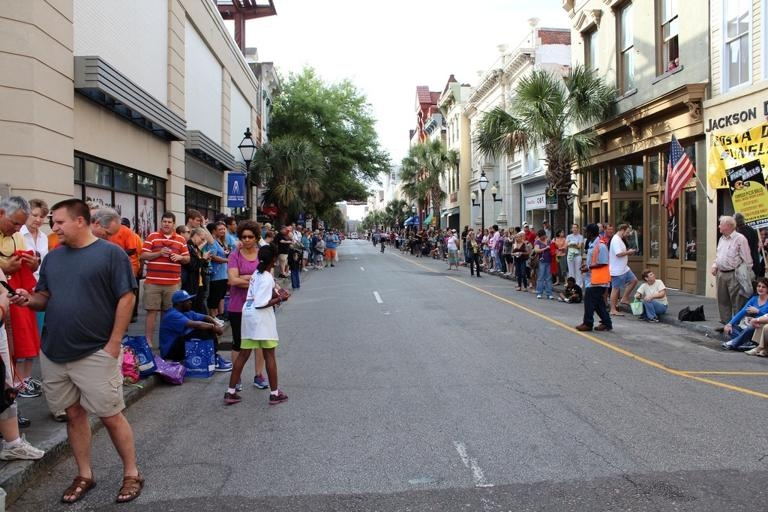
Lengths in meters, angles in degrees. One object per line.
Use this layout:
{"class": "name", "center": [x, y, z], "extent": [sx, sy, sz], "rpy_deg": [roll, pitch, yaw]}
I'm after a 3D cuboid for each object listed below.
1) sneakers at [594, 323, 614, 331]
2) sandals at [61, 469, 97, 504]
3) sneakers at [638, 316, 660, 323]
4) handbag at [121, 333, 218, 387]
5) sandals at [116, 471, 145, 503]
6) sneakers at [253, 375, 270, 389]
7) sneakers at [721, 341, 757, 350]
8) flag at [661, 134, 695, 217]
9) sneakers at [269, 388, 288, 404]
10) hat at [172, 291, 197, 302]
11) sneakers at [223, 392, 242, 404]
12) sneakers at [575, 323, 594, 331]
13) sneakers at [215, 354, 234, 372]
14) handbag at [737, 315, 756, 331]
{"class": "sneakers", "center": [4.817, 1.563, 12.938], "extent": [0.421, 0.239, 0.170], "rpy_deg": [3, -3, 1]}
{"class": "sandals", "center": [-3.232, 2.493, 6.257], "extent": [0.135, 0.175, 0.382], "rpy_deg": [-1, -8, 3]}
{"class": "sneakers", "center": [6.507, 1.534, 14.337], "extent": [0.389, 0.193, 0.152], "rpy_deg": [10, -2, 7]}
{"class": "handbag", "center": [-3.362, 1.729, 9.439], "extent": [0.934, 0.470, 0.834], "rpy_deg": [-1, 1, -12]}
{"class": "sandals", "center": [-2.665, 2.470, 6.188], "extent": [0.147, 0.140, 0.308], "rpy_deg": [-1, -6, -4]}
{"class": "sneakers", "center": [-1.906, 1.976, 9.157], "extent": [0.293, 0.159, 0.133], "rpy_deg": [0, 4, -7]}
{"class": "sneakers", "center": [6.816, 1.730, 11.294], "extent": [0.467, 0.216, 0.173], "rpy_deg": [3, -5, 20]}
{"class": "flag", "center": [8.282, -2.295, 16.482], "extent": [0.643, 2.204, 0.899], "rpy_deg": [2, 6, 28]}
{"class": "sneakers", "center": [-1.507, 2.022, 8.466], "extent": [0.127, 0.164, 0.310], "rpy_deg": [2, 5, 18]}
{"class": "hat", "center": [-3.329, 0.682, 9.842], "extent": [0.356, 0.228, 0.243], "rpy_deg": [-3, 6, -14]}
{"class": "sneakers", "center": [-2.171, 2.051, 8.510], "extent": [0.120, 0.159, 0.302], "rpy_deg": [3, 4, 18]}
{"class": "sneakers", "center": [4.418, 1.572, 12.878], "extent": [0.383, 0.193, 0.141], "rpy_deg": [3, -2, -1]}
{"class": "sneakers", "center": [-2.729, 1.869, 10.203], "extent": [0.485, 0.241, 0.178], "rpy_deg": [2, 4, 14]}
{"class": "handbag", "center": [7.013, 1.315, 11.370], "extent": [0.281, 0.142, 0.219], "rpy_deg": [-3, -4, 8]}
